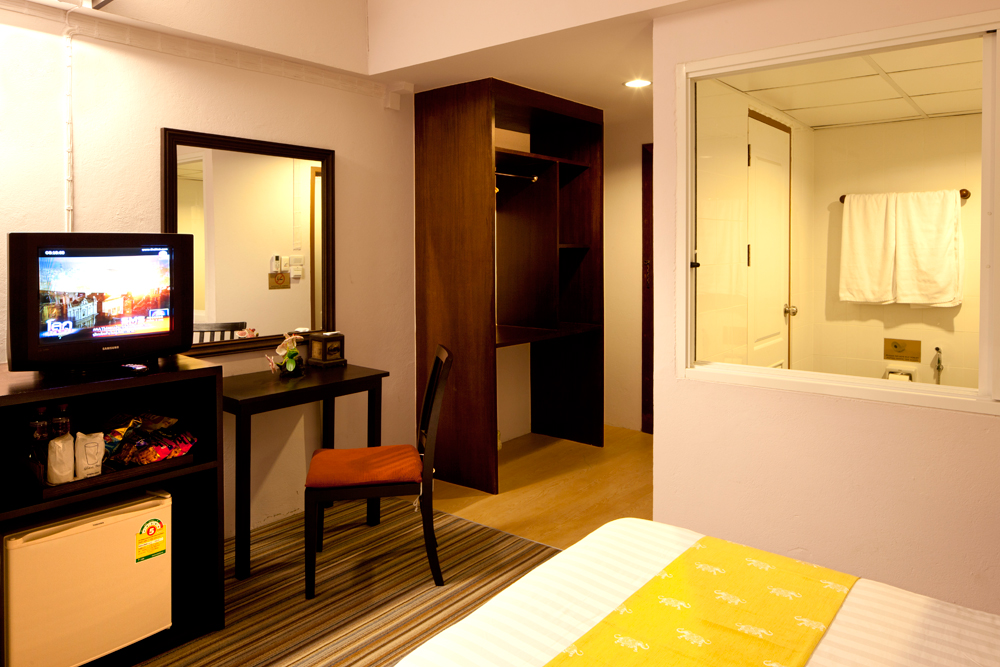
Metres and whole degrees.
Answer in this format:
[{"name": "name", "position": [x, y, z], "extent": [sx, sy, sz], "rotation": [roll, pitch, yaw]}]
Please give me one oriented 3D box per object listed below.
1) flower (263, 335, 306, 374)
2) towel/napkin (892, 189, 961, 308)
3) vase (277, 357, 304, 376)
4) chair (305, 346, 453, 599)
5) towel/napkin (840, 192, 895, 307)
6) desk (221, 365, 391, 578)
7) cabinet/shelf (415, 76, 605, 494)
[{"name": "flower", "position": [-1.334, 0.127, 4.246], "extent": [0.095, 0.224, 0.199], "rotation": [15, 40, 27]}, {"name": "towel/napkin", "position": [2.018, -0.412, 3.251], "extent": [0.295, 0.523, 0.129], "rotation": [4, 14, 13]}, {"name": "vase", "position": [-1.255, 0.200, 4.179], "extent": [0.157, 0.116, 0.084], "rotation": [3, 3, 11]}, {"name": "chair", "position": [-0.700, 0.719, 3.940], "extent": [0.904, 1.191, 0.794], "rotation": [1, 0, -27]}, {"name": "towel/napkin", "position": [1.781, -0.416, 3.336], "extent": [0.237, 0.509, 0.130], "rotation": [5, 14, 15]}, {"name": "desk", "position": [-1.162, 0.837, 4.051], "extent": [0.668, 1.015, 1.073], "rotation": [5, 7, 37]}, {"name": "cabinet/shelf", "position": [0.100, -0.408, 5.249], "extent": [1.520, 2.848, 0.983], "rotation": [-12, 18, -42]}]
